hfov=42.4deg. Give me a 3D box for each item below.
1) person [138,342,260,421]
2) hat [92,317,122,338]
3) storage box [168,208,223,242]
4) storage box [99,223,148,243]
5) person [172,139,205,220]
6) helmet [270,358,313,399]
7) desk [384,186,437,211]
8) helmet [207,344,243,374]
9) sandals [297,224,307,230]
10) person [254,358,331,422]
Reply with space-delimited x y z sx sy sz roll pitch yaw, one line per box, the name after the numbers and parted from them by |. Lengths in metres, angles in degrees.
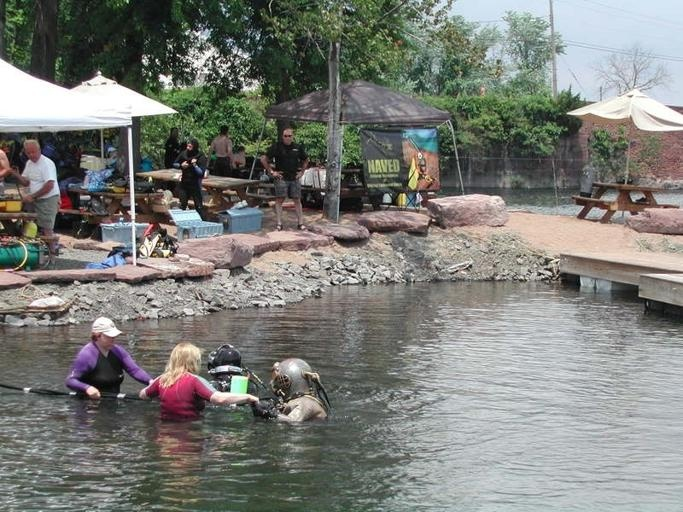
-1.825 1.515 10.700 1.395 0.972 0.302 7 16 19 | person
-2.943 0.884 11.017 0.387 0.188 0.261 1 3 11 | hat
-3.140 -0.672 18.951 0.827 0.509 0.832 2 3 42 | storage box
-4.698 -0.439 19.173 0.867 0.268 0.605 1 0 -34 | storage box
-3.370 -1.737 19.828 0.611 1.889 0.974 0 15 -10 | person
-0.631 1.532 10.981 0.541 0.391 0.438 7 7 44 | helmet
1.880 -1.633 24.660 1.090 0.824 2.178 4 13 6 | desk
-1.435 1.297 11.036 0.353 0.373 0.418 2 27 -1 | helmet
-0.928 -0.682 20.795 0.167 0.105 0.417 -4 4 -14 | sandals
-0.713 1.685 11.120 1.215 0.676 0.854 -2 4 -31 | person
